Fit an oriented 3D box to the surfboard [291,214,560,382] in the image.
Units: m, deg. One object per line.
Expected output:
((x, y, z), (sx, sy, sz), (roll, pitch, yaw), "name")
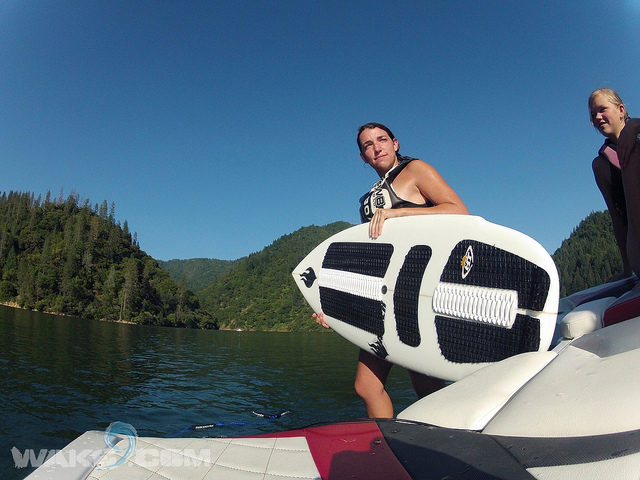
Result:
((0.915, 0.551, 4.391), (0.495, 1.485, 2.870), (15, -9, -41), "surfboard")
